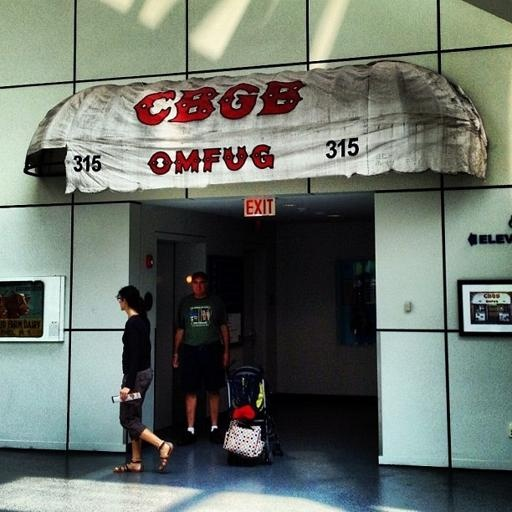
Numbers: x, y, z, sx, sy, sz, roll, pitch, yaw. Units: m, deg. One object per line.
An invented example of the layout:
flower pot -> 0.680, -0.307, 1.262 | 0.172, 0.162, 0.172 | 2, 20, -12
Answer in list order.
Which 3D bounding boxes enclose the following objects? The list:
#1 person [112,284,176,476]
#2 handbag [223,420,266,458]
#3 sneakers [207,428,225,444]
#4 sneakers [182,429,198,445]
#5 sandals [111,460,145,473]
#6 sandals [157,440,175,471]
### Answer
person -> -1.198, 1.284, 6.587 | 0.552, 1.929, 1.243 | 2, -3, -13
handbag -> -0.123, 1.882, 6.438 | 0.396, 0.342, 0.238 | 1, -3, 4
sneakers -> -0.473, 2.205, 7.670 | 0.174, 0.159, 0.313 | 2, -3, -5
sneakers -> -0.804, 2.238, 7.715 | 0.137, 0.203, 0.446 | -1, -13, 6
sandals -> -1.302, 2.121, 6.348 | 0.342, 0.166, 0.132 | 1, -9, 20
sandals -> -0.887, 2.020, 6.198 | 0.162, 0.468, 0.165 | 4, 33, -2
